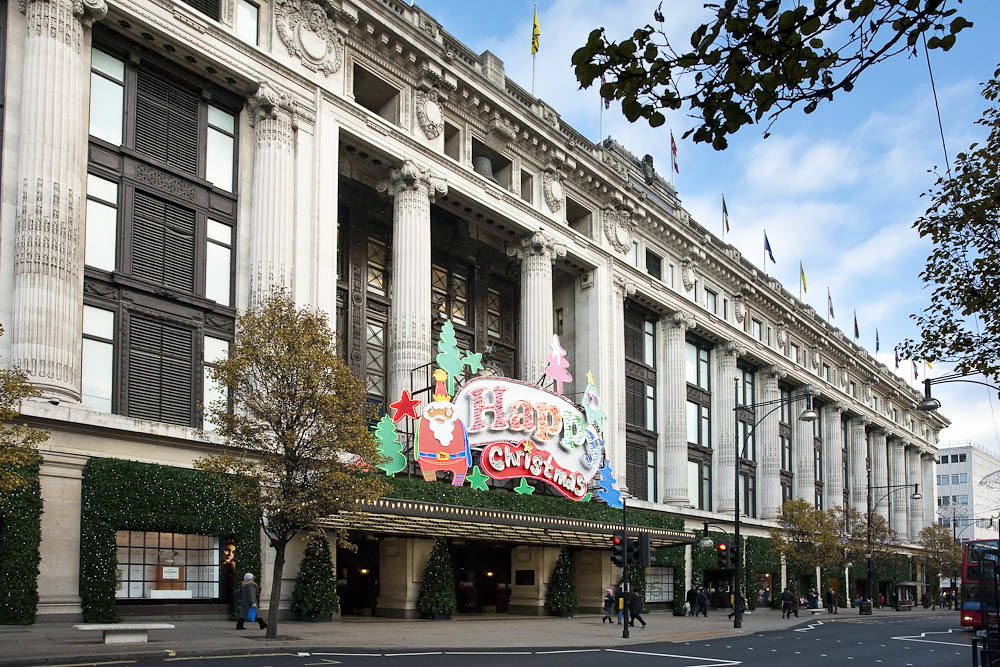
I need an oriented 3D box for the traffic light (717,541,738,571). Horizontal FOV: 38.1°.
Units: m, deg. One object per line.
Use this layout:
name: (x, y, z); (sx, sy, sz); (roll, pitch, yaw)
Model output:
traffic light: (11.888, 11.700, 75.953); (1.364, 1.855, 1.089); (5, -11, -20)
